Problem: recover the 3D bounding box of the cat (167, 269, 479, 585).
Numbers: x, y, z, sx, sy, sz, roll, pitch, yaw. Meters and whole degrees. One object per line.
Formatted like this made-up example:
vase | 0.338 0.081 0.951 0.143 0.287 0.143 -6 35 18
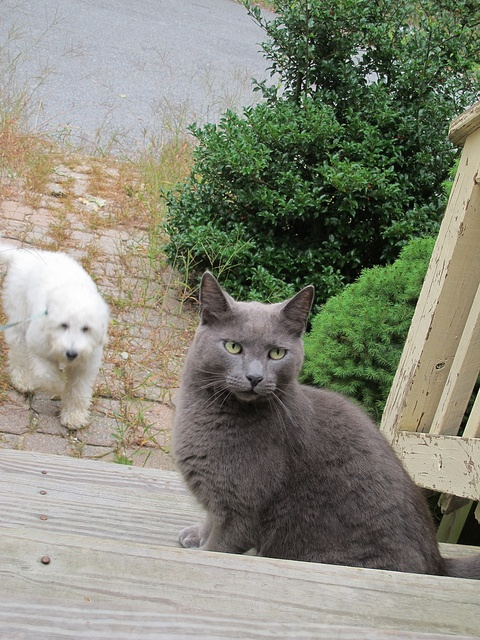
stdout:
cat | 0.210 0.331 1.975 0.957 0.788 0.412 21 15 33
